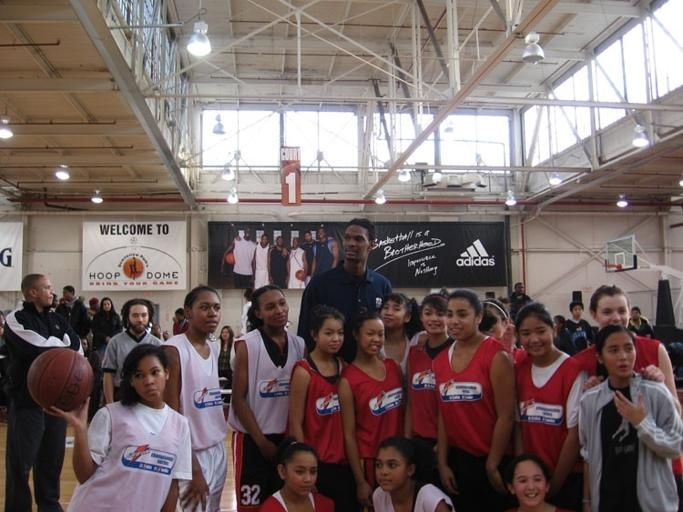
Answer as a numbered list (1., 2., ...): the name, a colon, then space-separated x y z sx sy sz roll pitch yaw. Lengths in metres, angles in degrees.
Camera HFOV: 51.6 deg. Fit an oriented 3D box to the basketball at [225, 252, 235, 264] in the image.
1. basketball: -2.358 0.050 14.921 0.202 0.253 0.199 -1 4 -38
